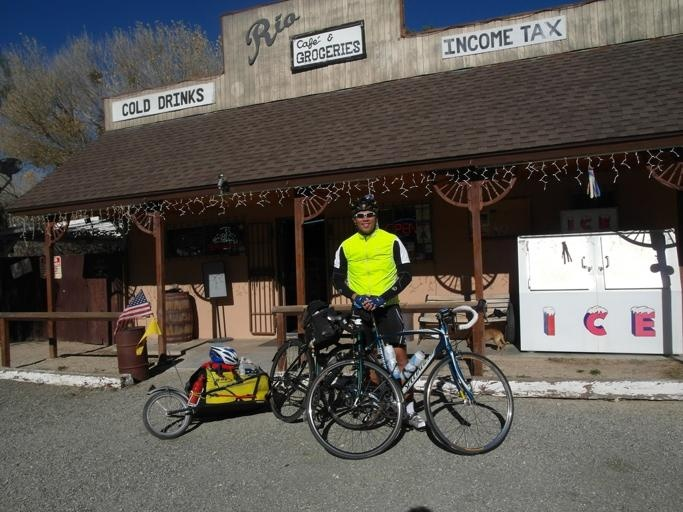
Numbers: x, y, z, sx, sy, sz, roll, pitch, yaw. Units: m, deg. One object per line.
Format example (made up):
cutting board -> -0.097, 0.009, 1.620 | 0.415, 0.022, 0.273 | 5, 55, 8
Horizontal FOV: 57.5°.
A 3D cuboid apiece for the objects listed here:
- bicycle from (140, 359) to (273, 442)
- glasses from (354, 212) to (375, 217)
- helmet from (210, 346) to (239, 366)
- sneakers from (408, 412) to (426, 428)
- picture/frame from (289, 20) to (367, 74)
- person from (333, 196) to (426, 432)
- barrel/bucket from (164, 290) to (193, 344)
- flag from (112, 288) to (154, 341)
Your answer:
bicycle -> -1.755, 1.823, 8.455 | 1.922, 1.126, 0.753 | -12, -2, -17
glasses -> 0.291, -0.504, 7.647 | 0.232, 0.066, 0.079 | -5, 0, 2
helmet -> -1.529, 1.284, 8.114 | 0.301, 0.183, 0.227 | 1, 0, 3
sneakers -> 0.899, 1.974, 7.463 | 0.214, 0.199, 0.165 | -4, 0, 20
picture/frame -> -0.274, -4.374, 12.945 | 1.642, 0.058, 0.866 | -16, -34, -13
person -> 0.444, 0.700, 7.881 | 0.836, 2.936, 0.737 | 2, 16, 32
barrel/bucket -> -3.279, 1.230, 12.615 | 0.719, 1.222, 0.821 | 0, -3, -6
flag -> -3.135, 0.792, 9.466 | 0.468, 0.601, 0.286 | -9, -18, -34
